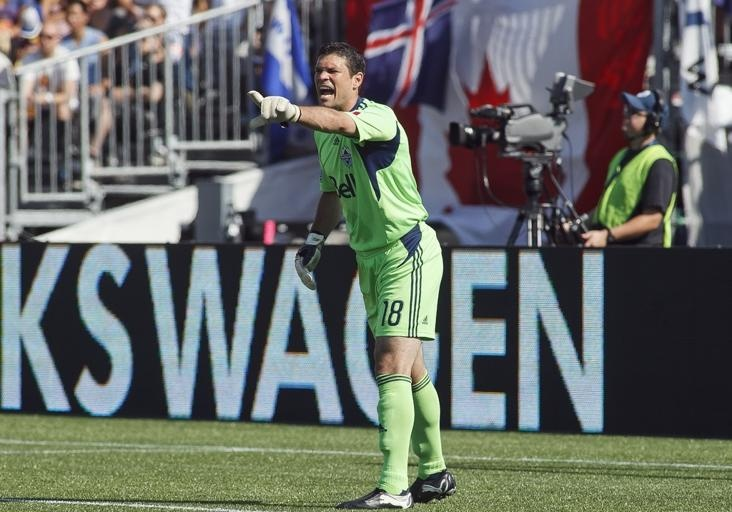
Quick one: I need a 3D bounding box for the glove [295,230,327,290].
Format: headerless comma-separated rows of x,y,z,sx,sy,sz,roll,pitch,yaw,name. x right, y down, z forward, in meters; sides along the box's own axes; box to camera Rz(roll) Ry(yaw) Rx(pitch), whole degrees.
-0.486,0.030,17.460,0.261,0.453,0.201,37,-25,-30,glove

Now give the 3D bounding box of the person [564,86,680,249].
2.300,-0.768,18.549,0.795,1.389,0.641,-2,-4,14,person

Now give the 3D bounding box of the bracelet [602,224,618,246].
2.106,-0.174,18.383,0.086,0.152,0.148,-28,2,-1,bracelet

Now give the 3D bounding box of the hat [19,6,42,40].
-3.480,-2.441,22.146,0.221,0.324,0.121,-6,-14,-3,hat

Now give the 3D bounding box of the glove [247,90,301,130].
-0.682,-1.134,16.469,0.270,0.176,0.383,-4,6,6,glove

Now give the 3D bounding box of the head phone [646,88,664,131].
2.552,-1.284,18.588,0.091,0.268,0.202,13,28,17,head phone

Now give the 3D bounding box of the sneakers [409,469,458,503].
0.537,1.857,17.046,0.432,0.203,0.176,-12,-3,5,sneakers

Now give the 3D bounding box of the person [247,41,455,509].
0.072,0.163,16.938,1.403,3.719,0.937,0,-4,-16,person
